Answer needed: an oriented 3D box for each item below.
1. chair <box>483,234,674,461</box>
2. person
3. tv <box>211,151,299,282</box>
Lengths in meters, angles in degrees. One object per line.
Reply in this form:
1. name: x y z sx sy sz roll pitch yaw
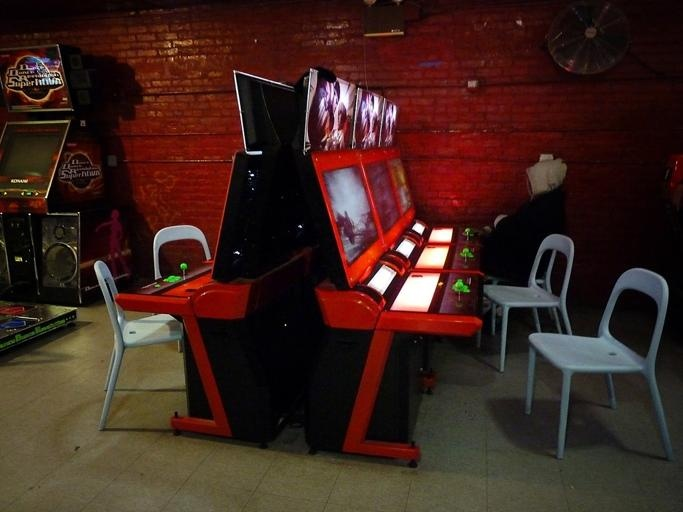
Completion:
1. chair: 1.787 0.690 3.788 0.505 0.746 1.374 -3 12 1
2. person: 1.716 -0.253 4.918 0.829 1.369 0.809 2 18 12
3. tv: -0.459 -0.258 2.986 0.295 0.741 0.643 9 19 36
